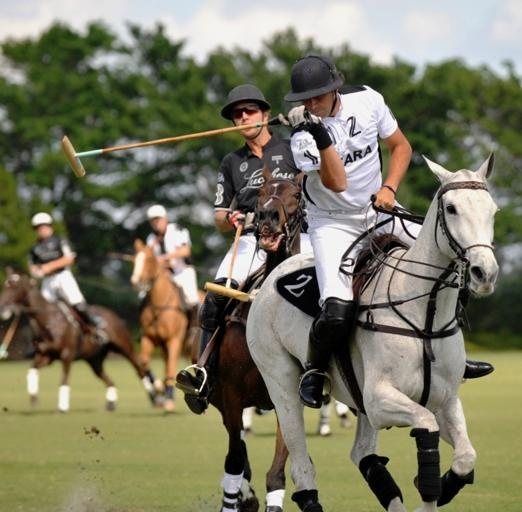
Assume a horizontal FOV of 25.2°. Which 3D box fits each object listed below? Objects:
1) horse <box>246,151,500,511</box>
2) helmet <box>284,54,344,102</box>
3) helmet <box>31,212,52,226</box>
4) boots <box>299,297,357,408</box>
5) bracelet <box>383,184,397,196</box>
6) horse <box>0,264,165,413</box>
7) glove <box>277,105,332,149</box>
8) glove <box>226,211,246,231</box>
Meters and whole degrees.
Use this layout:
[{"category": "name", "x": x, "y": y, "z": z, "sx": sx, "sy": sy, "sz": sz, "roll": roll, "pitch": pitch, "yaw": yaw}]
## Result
[{"category": "horse", "x": 0.933, "y": 0.616, "z": 8.619, "sx": 0.715, "sy": 2.712, "sz": 2.083, "roll": -1, "pitch": 4, "yaw": -37}, {"category": "helmet", "x": 0.425, "y": -1.281, "z": 8.751, "sx": 0.389, "sy": 0.210, "sz": 0.388, "roll": -2, "pitch": 32, "yaw": 34}, {"category": "helmet", "x": -3.045, "y": -0.452, "z": 16.097, "sx": 0.309, "sy": 0.138, "sz": 0.265, "roll": -4, "pitch": 45, "yaw": 7}, {"category": "boots", "x": 0.378, "y": 0.733, "z": 8.712, "sx": 0.297, "sy": 0.984, "sz": 0.307, "roll": 19, "pitch": 41, "yaw": 0}, {"category": "bracelet", "x": 0.944, "y": -0.502, "z": 8.738, "sx": 0.088, "sy": 0.023, "sz": 0.082, "roll": 38, "pitch": 0, "yaw": -29}, {"category": "horse", "x": -2.566, "y": 1.174, "z": 15.978, "sx": 1.203, "sy": 1.988, "sz": 2.397, "roll": 3, "pitch": 3, "yaw": 26}, {"category": "glove", "x": 0.354, "y": -0.957, "z": 8.691, "sx": 0.290, "sy": 0.141, "sz": 0.424, "roll": 22, "pitch": -8, "yaw": 2}, {"category": "glove", "x": -0.210, "y": -0.313, "z": 10.329, "sx": 0.145, "sy": 0.160, "sz": 0.057, "roll": 2, "pitch": 3, "yaw": 13}]
